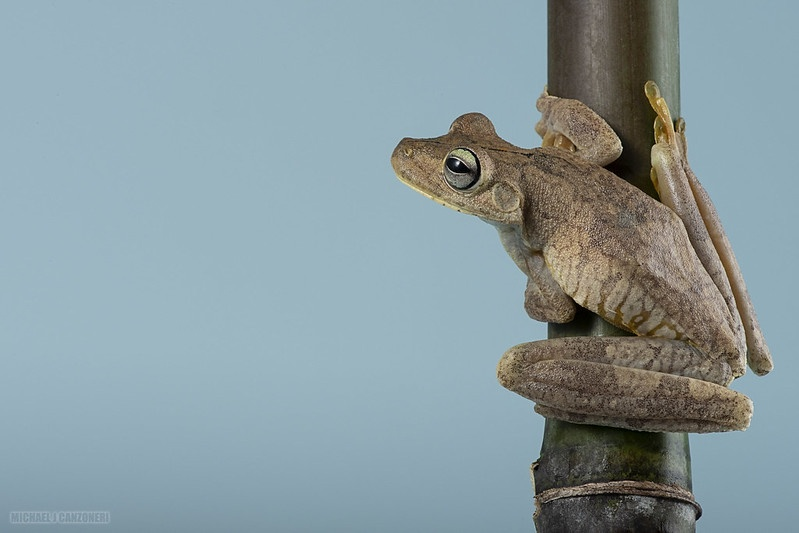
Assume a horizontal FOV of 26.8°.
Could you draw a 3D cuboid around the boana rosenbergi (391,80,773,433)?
[{"bbox_3d":[0.556,-0.055,4.777,1.050,0.960,0.489,3,-38,1],"label":"boana rosenbergi"}]
